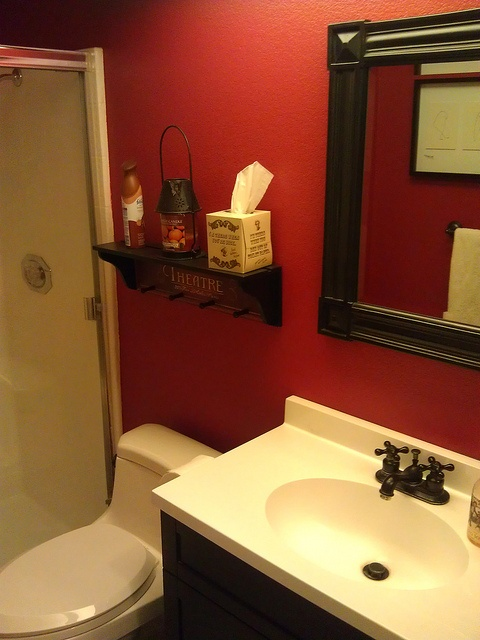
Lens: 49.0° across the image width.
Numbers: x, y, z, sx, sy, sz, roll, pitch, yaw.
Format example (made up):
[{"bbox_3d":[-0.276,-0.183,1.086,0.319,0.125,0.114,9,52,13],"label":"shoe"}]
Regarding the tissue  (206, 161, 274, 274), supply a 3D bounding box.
[{"bbox_3d":[0.000,-0.240,1.243,0.147,0.225,0.142,-10,21,-22],"label":"tissue "}]
